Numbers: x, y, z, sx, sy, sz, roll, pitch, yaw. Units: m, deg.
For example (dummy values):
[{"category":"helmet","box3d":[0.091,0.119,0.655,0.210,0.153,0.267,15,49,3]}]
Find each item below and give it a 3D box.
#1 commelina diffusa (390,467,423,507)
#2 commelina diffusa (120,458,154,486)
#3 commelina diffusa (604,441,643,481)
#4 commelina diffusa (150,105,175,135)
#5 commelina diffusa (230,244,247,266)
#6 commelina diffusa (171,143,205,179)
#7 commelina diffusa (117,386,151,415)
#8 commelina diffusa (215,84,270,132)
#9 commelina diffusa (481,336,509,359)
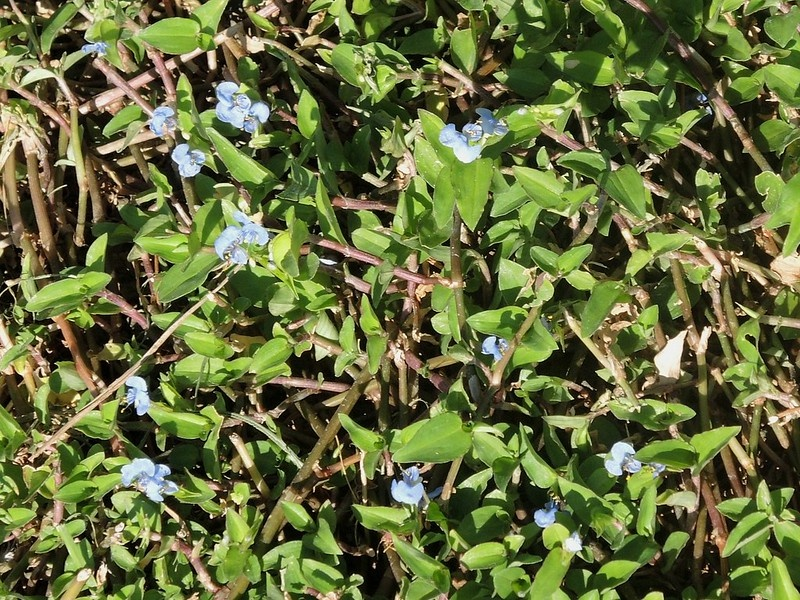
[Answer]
[{"category":"commelina diffusa","box3d":[0.019,0.360,1.506,0.056,0.036,0.078,16,96,-1]},{"category":"commelina diffusa","box3d":[-0.525,0.347,1.554,0.060,0.061,0.029,-1,22,-8]},{"category":"commelina diffusa","box3d":[0.443,0.319,1.526,0.072,0.030,0.070,12,96,-16]},{"category":"commelina diffusa","box3d":[-0.524,-0.390,1.697,0.048,0.063,0.023,-33,53,-27]},{"category":"commelina diffusa","box3d":[-0.315,-0.088,1.491,0.027,0.013,0.039,0,105,-5]},{"category":"commelina diffusa","box3d":[-0.457,-0.303,1.659,0.070,0.034,0.066,35,97,-15]},{"category":"commelina diffusa","box3d":[-0.572,0.211,1.652,0.029,0.081,0.069,-19,102,-9]},{"category":"commelina diffusa","box3d":[-0.328,-0.414,1.651,0.107,0.065,0.095,21,103,-13]},{"category":"commelina diffusa","box3d":[0.193,0.098,1.577,0.049,0.047,0.038,37,61,16]}]
